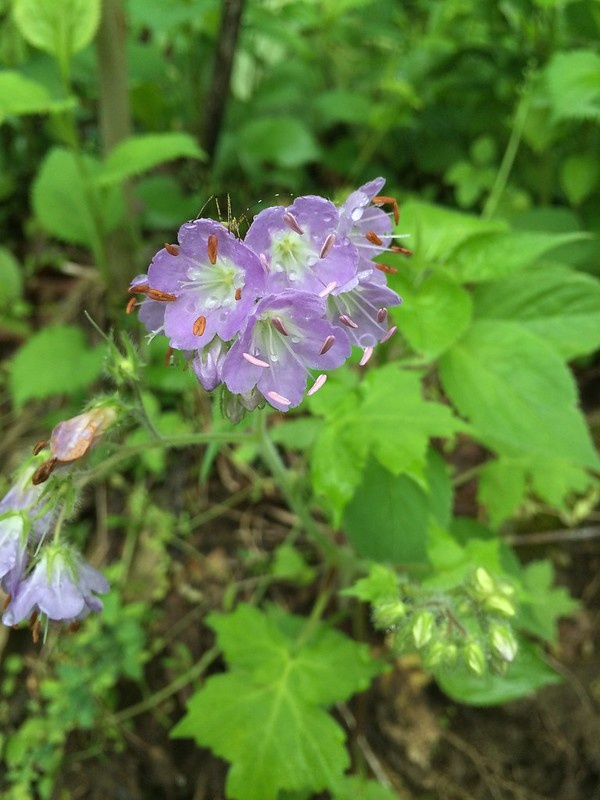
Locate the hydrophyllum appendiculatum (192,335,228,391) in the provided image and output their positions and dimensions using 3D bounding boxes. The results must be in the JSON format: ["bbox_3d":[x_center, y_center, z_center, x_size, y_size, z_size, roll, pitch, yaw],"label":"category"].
[{"bbox_3d":[-0.210,-0.080,1.654,0.105,0.043,0.107,11,82,28],"label":"hydrophyllum appendiculatum"}]

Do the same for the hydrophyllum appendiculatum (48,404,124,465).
[{"bbox_3d":[-0.530,0.058,1.750,0.062,0.114,0.195,-11,31,35],"label":"hydrophyllum appendiculatum"}]

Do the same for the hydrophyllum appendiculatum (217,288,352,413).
[{"bbox_3d":[-0.043,-0.121,1.629,0.307,0.260,0.139,-23,64,6],"label":"hydrophyllum appendiculatum"}]

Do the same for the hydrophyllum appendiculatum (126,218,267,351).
[{"bbox_3d":[-0.206,-0.255,1.598,0.254,0.227,0.211,-9,53,-8],"label":"hydrophyllum appendiculatum"}]
